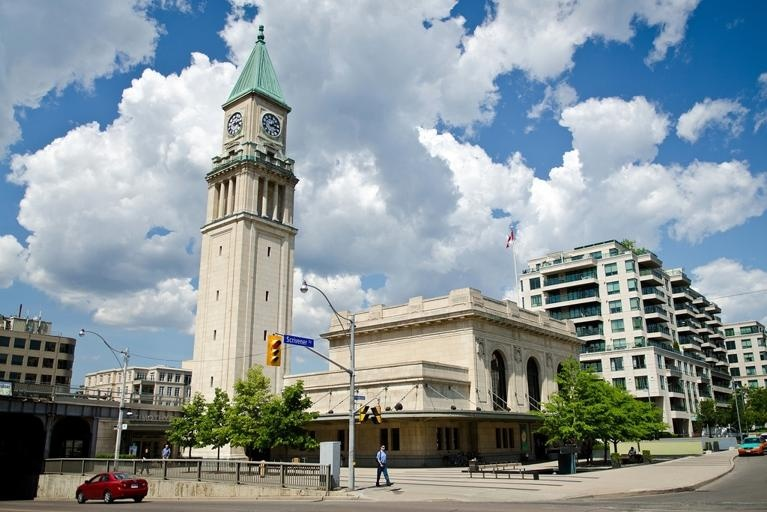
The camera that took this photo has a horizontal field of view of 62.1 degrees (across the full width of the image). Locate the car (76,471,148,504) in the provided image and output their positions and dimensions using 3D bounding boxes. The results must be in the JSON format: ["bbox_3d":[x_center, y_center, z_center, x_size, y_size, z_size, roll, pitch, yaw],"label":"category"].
[{"bbox_3d":[-21.312,18.292,50.219,5.370,2.259,1.592,-10,-22,22],"label":"car"}]
